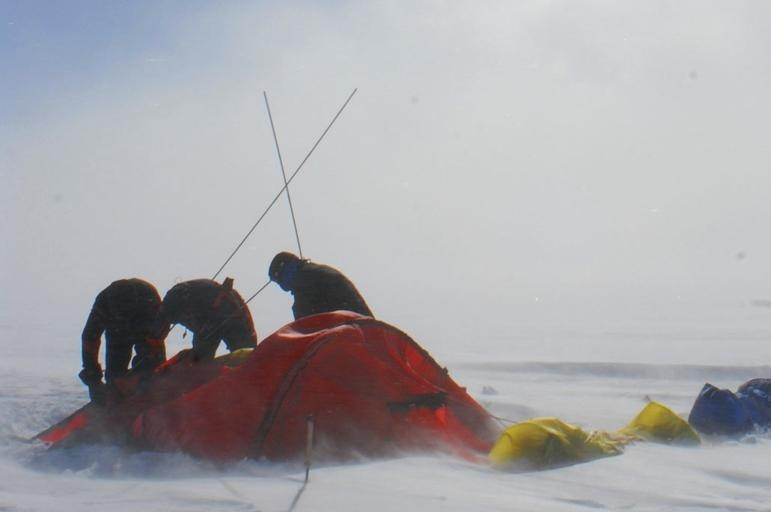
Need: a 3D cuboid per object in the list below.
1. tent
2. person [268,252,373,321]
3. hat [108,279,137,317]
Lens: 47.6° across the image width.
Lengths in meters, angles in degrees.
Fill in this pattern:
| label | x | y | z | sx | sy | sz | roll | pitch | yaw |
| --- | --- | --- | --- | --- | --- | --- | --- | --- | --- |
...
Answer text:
| label | x | y | z | sx | sy | sz | roll | pitch | yaw |
| --- | --- | --- | --- | --- | --- | --- | --- | --- | --- |
| tent | -1.134 | 1.418 | 8.550 | 3.023 | 0.955 | 2.320 | -3 | -5 | 22 |
| person | -0.734 | 0.301 | 9.903 | 0.826 | 0.644 | 1.857 | 1 | -21 | 10 |
| hat | -2.626 | 0.436 | 8.686 | 0.371 | 0.418 | 0.094 | -4 | -4 | -38 |
